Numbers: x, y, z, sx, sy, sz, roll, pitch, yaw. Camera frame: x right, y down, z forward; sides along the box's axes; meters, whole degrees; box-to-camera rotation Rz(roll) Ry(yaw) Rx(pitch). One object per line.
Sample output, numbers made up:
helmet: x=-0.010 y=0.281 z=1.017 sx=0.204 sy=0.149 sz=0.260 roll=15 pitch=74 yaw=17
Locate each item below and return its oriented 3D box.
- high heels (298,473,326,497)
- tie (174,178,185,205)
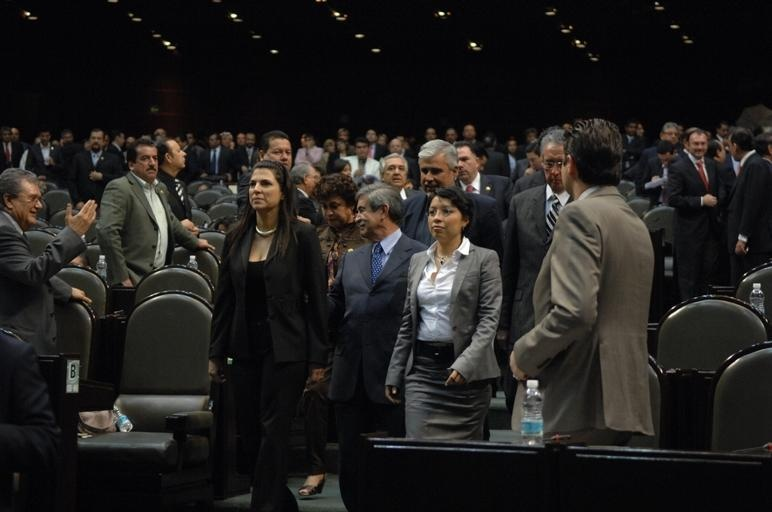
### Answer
high heels: x=-0.531 y=1.634 z=5.025 sx=0.096 sy=0.110 sz=0.271 roll=-3 pitch=-20 yaw=17
tie: x=-2.299 y=-0.730 z=7.900 sx=0.073 sy=0.244 sz=0.269 roll=1 pitch=2 yaw=14
